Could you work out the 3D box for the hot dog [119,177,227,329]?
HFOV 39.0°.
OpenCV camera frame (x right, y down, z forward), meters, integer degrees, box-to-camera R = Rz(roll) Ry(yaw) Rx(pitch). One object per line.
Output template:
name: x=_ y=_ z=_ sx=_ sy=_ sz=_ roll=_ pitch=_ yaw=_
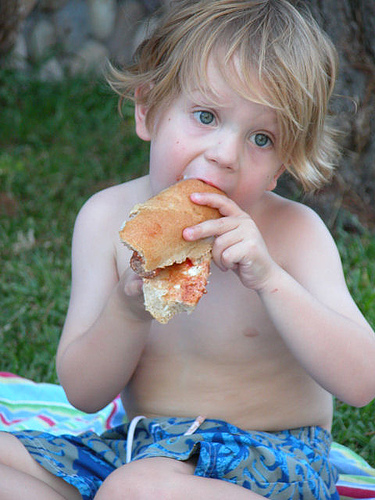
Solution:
hot dog: x=-0.023 y=-0.053 z=1.232 sx=0.215 sy=0.231 sz=0.414 roll=1 pitch=60 yaw=5
